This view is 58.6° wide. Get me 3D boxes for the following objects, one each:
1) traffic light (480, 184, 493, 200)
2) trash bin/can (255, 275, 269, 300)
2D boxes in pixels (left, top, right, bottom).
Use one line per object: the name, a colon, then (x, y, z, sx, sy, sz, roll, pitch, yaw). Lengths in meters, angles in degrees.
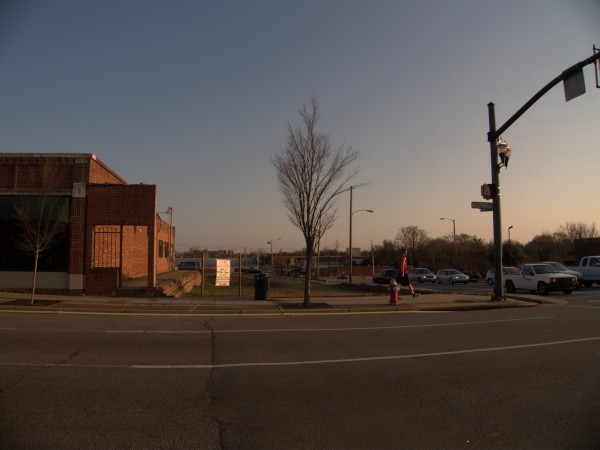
traffic light: (7.457, -1.383, 21.565, 0.391, 0.626, 0.826, -6, -9, 44)
trash bin/can: (-1.622, 2.593, 22.743, 0.496, 1.117, 0.425, 2, -6, -18)
